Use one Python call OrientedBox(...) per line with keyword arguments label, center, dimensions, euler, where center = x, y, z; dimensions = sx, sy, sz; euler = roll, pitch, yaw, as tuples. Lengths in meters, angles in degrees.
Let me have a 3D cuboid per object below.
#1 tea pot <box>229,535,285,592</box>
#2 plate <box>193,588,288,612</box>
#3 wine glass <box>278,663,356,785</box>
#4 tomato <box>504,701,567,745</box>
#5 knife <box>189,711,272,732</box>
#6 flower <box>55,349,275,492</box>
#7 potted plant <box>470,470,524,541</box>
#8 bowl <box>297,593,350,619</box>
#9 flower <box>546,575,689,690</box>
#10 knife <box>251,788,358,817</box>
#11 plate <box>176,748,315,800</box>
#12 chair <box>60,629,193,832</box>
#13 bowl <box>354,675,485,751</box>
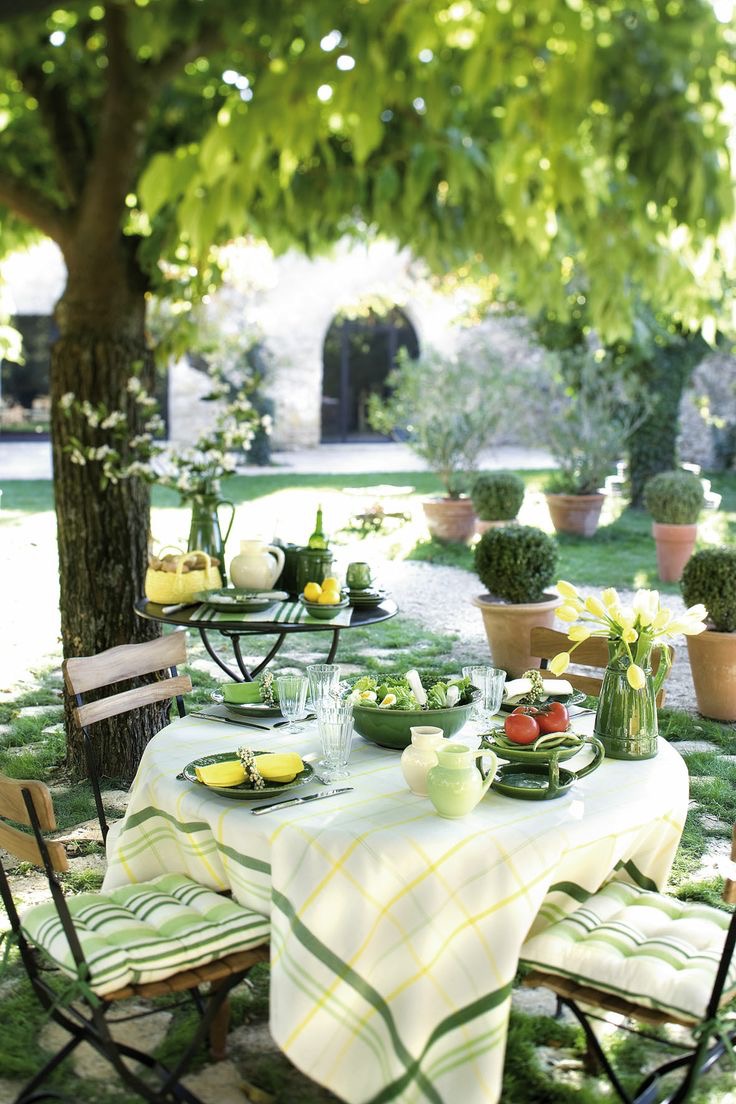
OrientedBox(label="tea pot", center=(-0.385, 0.058, 3.565), dimensions=(0.208, 0.178, 0.158), euler=(4, 3, 22))
OrientedBox(label="plate", center=(-0.415, 0.165, 3.448), dimensions=(0.290, 0.067, 0.193), euler=(-2, 4, -10))
OrientedBox(label="wine glass", center=(-0.080, 0.386, 2.274), dimensions=(0.154, 0.238, 0.157), euler=(-3, 8, -42))
OrientedBox(label="tomato", center=(0.371, 0.384, 2.292), dimensions=(0.131, 0.057, 0.078), euler=(-4, 6, -42))
OrientedBox(label="knife", center=(-0.340, 0.428, 2.549), dimensions=(0.231, 0.018, 0.025), euler=(4, 2, 39))
OrientedBox(label="flower", center=(-0.780, -0.442, 3.879), dimensions=(0.777, 0.505, 0.483), euler=(-2, 5, -8))
OrientedBox(label="potted plant", center=(1.083, -0.380, 8.766), dimensions=(0.602, 0.628, 0.549), euler=(1, 8, -7))
OrientedBox(label="bowl", center=(-0.143, 0.188, 3.382), dimensions=(0.147, 0.067, 0.142), euler=(-1, 4, 0))
OrientedBox(label="flower", center=(0.605, 0.193, 2.396), dimensions=(0.332, 0.171, 0.277), euler=(1, -5, 14))
OrientedBox(label="knife", center=(-0.128, 0.499, 2.021), dimensions=(0.217, 0.009, 0.029), euler=(-2, 16, -31))
OrientedBox(label="plate", center=(-0.244, 0.437, 2.180), dimensions=(0.272, 0.099, 0.231), euler=(7, 6, 40))
OrientedBox(label="chair", center=(-0.769, 0.560, 3.202), dimensions=(0.415, 0.637, 0.419), euler=(13, 13, 33))
OrientedBox(label="bowl", center=(0.106, 0.360, 2.382), dimensions=(0.310, 0.152, 0.291), euler=(-2, 9, 0))
